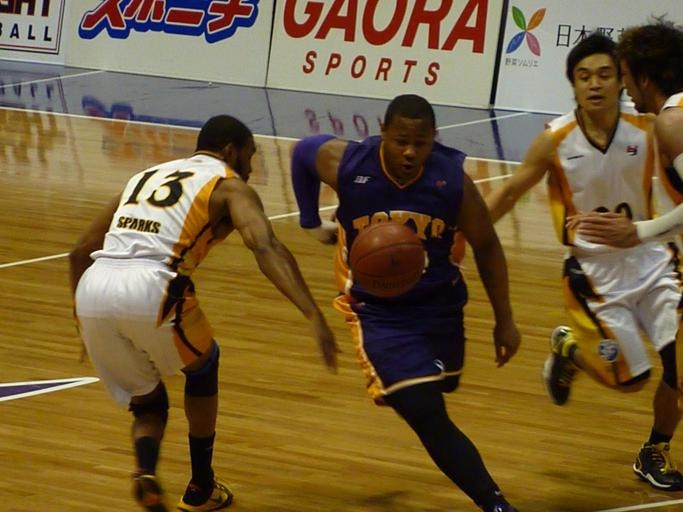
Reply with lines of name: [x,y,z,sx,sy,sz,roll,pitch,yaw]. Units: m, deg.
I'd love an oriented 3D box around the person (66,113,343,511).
person: [-0.666,0.276,2.868,0.978,1.671,0.754,-1,12,-13]

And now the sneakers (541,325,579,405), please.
sneakers: [1.143,0.547,3.632,0.147,0.356,0.127,37,57,20]

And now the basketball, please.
basketball: [0.186,0.045,2.865,0.332,0.354,0.344,6,12,23]
